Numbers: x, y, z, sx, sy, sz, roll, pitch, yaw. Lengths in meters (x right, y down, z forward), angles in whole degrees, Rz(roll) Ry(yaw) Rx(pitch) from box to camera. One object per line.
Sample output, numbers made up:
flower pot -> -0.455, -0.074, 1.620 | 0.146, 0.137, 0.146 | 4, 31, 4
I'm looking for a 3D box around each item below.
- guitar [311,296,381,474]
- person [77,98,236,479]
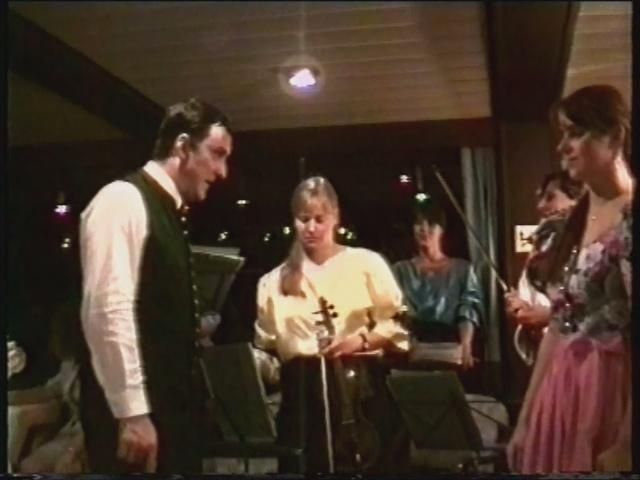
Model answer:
guitar -> 0.096, 0.693, 3.630 | 0.104, 0.631, 0.201 | -4, -1, -31
person -> -0.808, 0.219, 3.578 | 0.784, 1.865, 0.307 | -1, -3, -9
